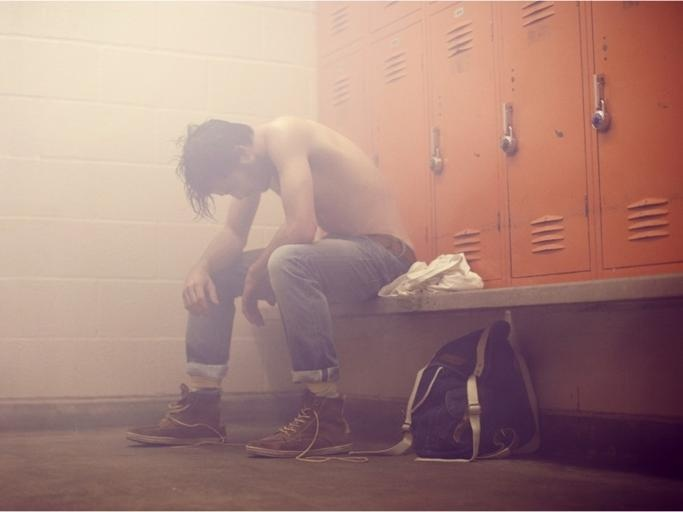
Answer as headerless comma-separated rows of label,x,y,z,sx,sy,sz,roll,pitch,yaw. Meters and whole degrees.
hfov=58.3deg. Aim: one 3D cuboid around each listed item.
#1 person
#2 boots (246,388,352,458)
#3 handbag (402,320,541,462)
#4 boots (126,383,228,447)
person,-0.281,0.123,2.616,1.104,1.401,0.984,1,-5,-26
boots,-0.133,0.560,2.057,0.382,0.241,0.157,2,-8,-15
handbag,0.409,0.507,2.184,0.390,0.447,0.449,18,-28,-33
boots,-0.542,0.560,2.162,0.371,0.258,0.153,5,-18,-11
